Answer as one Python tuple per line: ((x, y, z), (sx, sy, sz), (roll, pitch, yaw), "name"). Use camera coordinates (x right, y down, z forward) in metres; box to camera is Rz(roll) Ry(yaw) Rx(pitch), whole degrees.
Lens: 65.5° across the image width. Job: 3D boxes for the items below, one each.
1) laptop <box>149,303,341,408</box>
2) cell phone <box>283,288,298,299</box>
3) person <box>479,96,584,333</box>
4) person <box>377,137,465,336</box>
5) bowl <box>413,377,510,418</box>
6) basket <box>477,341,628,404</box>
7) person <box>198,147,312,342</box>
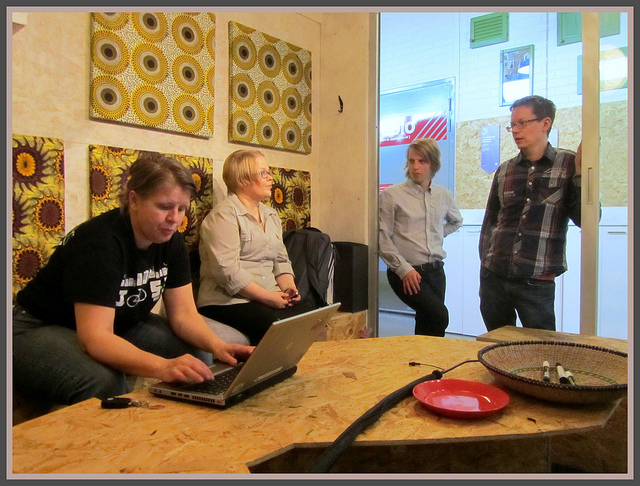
((-0.251, 0.343, 1.677), (0.475, 0.247, 0.474), (2, 0, 15), "laptop")
((-0.169, 0.302, 3.042), (0.061, 0.048, 0.096), (-2, 10, -5), "cell phone")
((1.306, -0.171, 3.108), (0.598, 1.454, 0.376), (5, 13, 26), "person")
((0.718, -0.085, 3.618), (0.615, 1.320, 0.652), (2, 12, 15), "person")
((0.407, 0.459, 1.473), (0.270, 0.046, 0.189), (3, 10, 21), "bowl")
((0.716, 0.400, 1.563), (0.417, 0.109, 0.340), (4, 10, 28), "basket")
((-0.336, -0.006, 3.188), (0.838, 1.102, 0.857), (6, 7, -21), "person")
